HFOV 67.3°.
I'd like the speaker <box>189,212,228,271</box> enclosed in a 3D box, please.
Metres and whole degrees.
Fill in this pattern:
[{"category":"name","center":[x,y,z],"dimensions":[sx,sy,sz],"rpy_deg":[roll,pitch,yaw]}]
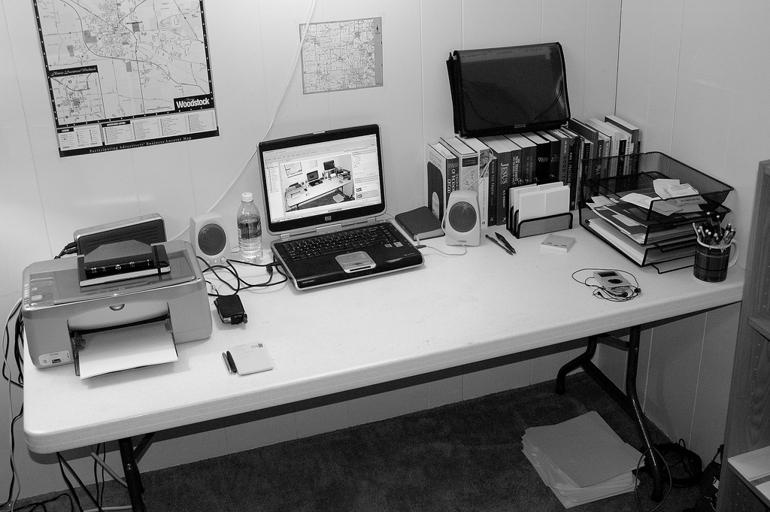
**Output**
[{"category":"speaker","center":[-0.738,-0.064,2.435],"dimensions":[0.161,0.219,0.127],"rpy_deg":[-10,23,-27]}]

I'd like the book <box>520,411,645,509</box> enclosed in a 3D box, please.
[{"category":"book","center":[0.903,0.912,2.628],"dimensions":[0.325,0.089,0.326],"rpy_deg":[-13,36,-17]}]

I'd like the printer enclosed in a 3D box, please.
[{"category":"printer","center":[-0.927,0.163,1.967],"dimensions":[0.620,0.280,0.384],"rpy_deg":[-11,43,-17]}]

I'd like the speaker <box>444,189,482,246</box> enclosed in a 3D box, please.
[{"category":"speaker","center":[0.344,-0.166,2.492],"dimensions":[0.170,0.231,0.146],"rpy_deg":[7,24,30]}]

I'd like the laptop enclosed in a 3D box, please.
[{"category":"laptop","center":[-0.186,-0.218,2.358],"dimensions":[0.559,0.434,0.481],"rpy_deg":[-12,35,-23]}]

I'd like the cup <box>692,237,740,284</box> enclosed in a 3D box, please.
[{"category":"cup","center":[1.279,0.010,2.219],"dimensions":[0.158,0.143,0.102],"rpy_deg":[-15,22,-23]}]
